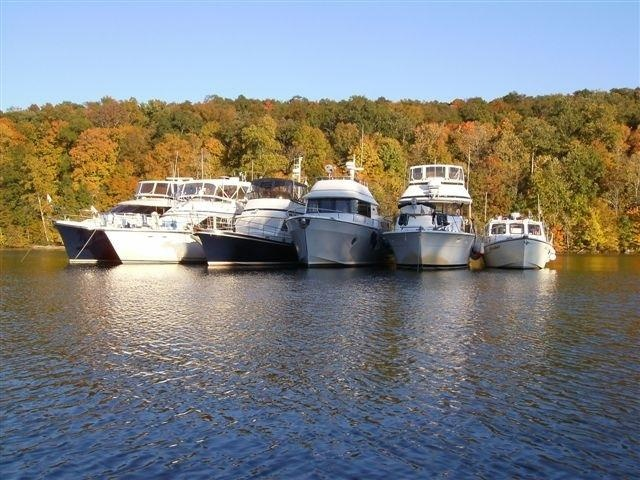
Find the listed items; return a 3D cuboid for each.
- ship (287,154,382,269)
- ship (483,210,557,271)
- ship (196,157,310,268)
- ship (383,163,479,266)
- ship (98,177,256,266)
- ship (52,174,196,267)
[{"bbox_3d":[1.705,-1.440,38.370,6.216,7.276,7.047,-2,5,-11],"label":"ship"},{"bbox_3d":[15.078,0.160,39.950,4.682,4.388,4.388,2,7,17],"label":"ship"},{"bbox_3d":[-4.447,-0.879,42.450,3.734,5.435,14.219,0,-2,14],"label":"ship"},{"bbox_3d":[9.793,-2.419,44.091,6.884,8.102,17.745,2,4,18],"label":"ship"},{"bbox_3d":[-12.175,-1.465,43.597,5.217,6.458,14.333,4,6,39],"label":"ship"},{"bbox_3d":[-14.726,-2.124,48.907,5.273,7.072,19.073,4,7,34],"label":"ship"}]
